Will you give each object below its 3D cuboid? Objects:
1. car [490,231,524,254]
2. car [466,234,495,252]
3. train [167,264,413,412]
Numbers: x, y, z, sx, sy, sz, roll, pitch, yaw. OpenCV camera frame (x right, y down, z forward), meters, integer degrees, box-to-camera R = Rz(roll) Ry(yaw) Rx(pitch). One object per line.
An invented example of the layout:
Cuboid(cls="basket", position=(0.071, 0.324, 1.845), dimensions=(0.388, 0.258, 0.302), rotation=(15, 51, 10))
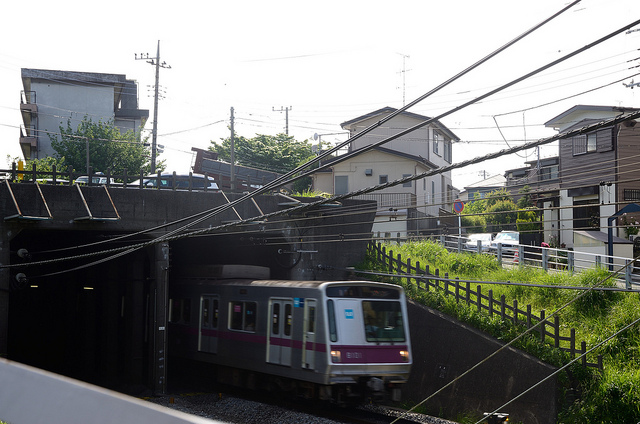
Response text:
Cuboid(cls="car", position=(9.810, 1.612, 41.799), dimensions=(1.234, 1.043, 2.120), rotation=(-4, -8, 33))
Cuboid(cls="car", position=(9.084, 1.834, 46.056), dimensions=(1.436, 1.056, 2.269), rotation=(-2, -7, 20))
Cuboid(cls="train", position=(-1.837, 4.376, 31.151), dimensions=(11.334, 4.518, 3.296), rotation=(2, 1, 43))
